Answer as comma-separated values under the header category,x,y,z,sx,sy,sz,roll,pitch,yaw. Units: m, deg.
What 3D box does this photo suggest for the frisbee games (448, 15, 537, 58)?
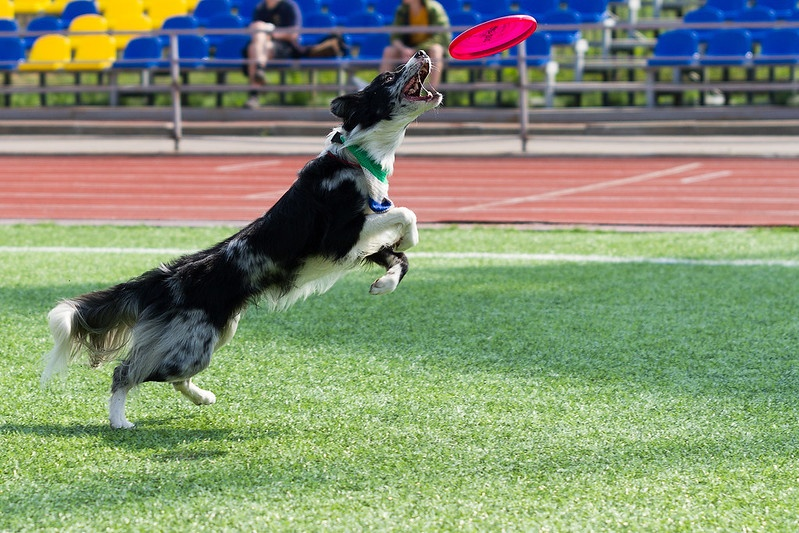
category,x,y,z,sx,sy,sz,roll,pitch,yaw
frisbee games,1.055,-2.506,17.704,0.868,0.140,0.811,-13,2,27
